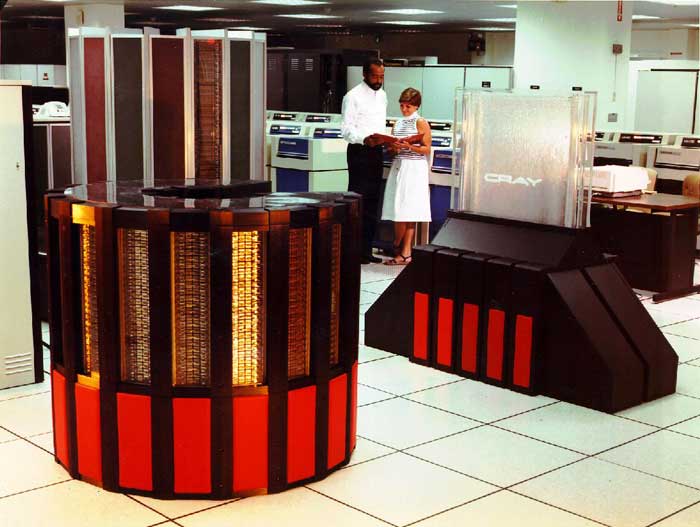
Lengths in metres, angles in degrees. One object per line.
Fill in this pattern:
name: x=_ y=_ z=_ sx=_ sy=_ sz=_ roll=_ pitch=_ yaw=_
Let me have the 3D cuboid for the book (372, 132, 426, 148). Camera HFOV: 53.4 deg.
book: x=0.460 y=-1.267 z=7.150 sx=0.595 sy=0.137 sz=0.200 roll=1 pitch=13 yaw=0

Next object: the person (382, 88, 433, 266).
person: x=0.619 y=-0.891 z=7.399 sx=0.530 sy=1.866 sz=0.532 roll=2 pitch=13 yaw=3

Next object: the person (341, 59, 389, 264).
person: x=0.158 y=-1.072 z=7.466 sx=0.500 sy=2.164 sz=0.405 roll=-2 pitch=13 yaw=-13

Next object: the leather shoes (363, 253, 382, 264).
leather shoes: x=0.261 y=-0.050 z=7.742 sx=0.091 sy=0.093 sz=0.248 roll=3 pitch=2 yaw=41
